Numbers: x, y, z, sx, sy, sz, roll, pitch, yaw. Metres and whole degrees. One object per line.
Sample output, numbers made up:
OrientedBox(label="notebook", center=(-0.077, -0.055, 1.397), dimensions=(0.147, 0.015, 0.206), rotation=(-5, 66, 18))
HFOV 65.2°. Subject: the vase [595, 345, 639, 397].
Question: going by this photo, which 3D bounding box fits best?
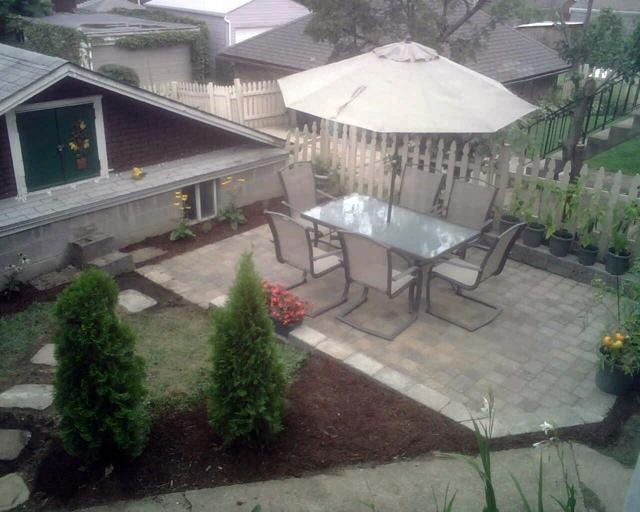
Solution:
OrientedBox(label="vase", center=(3.368, 1.243, 5.656), dimensions=(0.396, 0.316, 0.409), rotation=(22, 39, 34))
